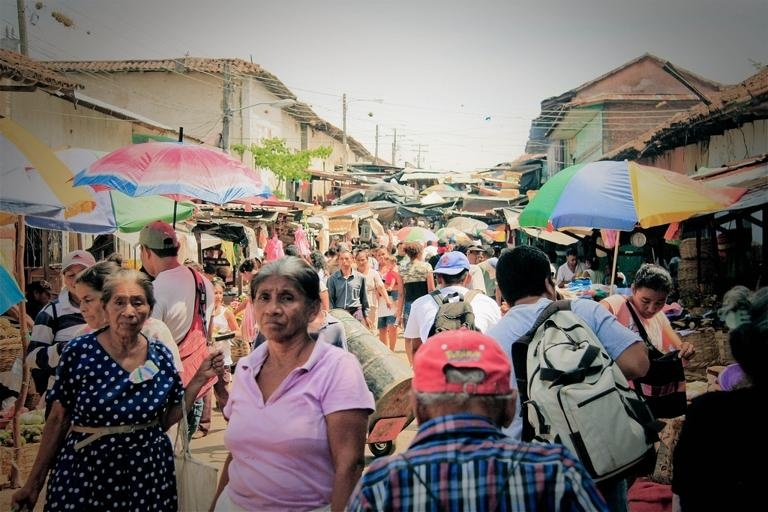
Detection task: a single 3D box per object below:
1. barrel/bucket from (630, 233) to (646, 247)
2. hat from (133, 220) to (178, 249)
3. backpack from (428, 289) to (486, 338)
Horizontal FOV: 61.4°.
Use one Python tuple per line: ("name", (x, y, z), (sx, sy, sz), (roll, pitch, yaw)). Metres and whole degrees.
("barrel/bucket", (3.265, -0.211, 8.198), (0.188, 0.206, 0.184), (-2, 7, 0))
("hat", (-2.337, -0.229, 6.565), (0.422, 0.248, 0.612), (0, 7, -22))
("backpack", (0.636, 0.422, 5.747), (0.514, 0.413, 0.719), (-3, 26, 8))
